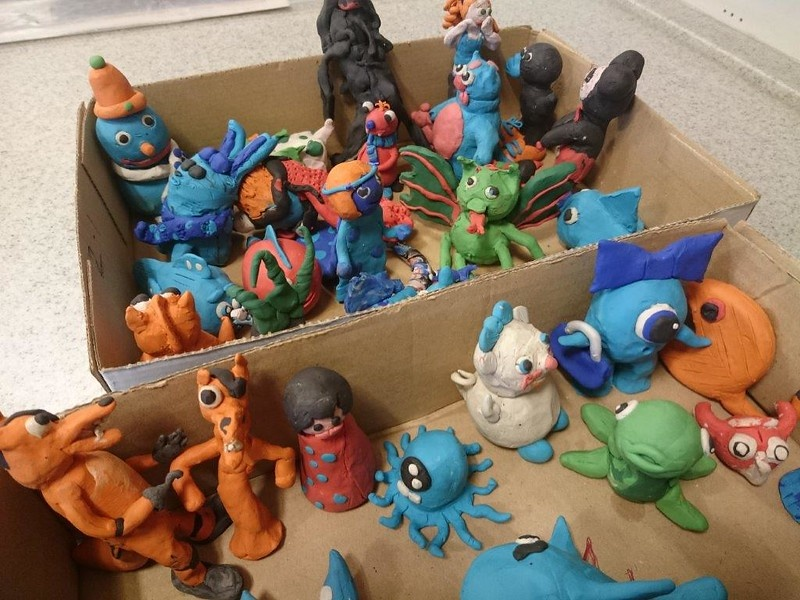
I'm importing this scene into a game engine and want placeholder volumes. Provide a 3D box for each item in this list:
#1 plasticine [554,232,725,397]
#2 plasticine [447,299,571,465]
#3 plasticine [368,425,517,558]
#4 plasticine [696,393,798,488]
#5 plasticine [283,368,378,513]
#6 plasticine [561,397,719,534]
[{"bbox_3d":[0.620,0.052,1.964,0.436,0.464,0.227,-9,41,-11],"label":"plasticine"},{"bbox_3d":[0.263,0.191,1.896,0.295,0.359,0.251,15,41,32],"label":"plasticine"},{"bbox_3d":[0.087,0.418,1.852,0.317,0.152,0.382,-6,41,-4],"label":"plasticine"},{"bbox_3d":[0.828,0.339,1.903,0.268,0.191,0.196,-8,31,2],"label":"plasticine"},{"bbox_3d":[-0.156,0.327,1.795,0.191,0.344,0.203,-8,51,-4],"label":"plasticine"},{"bbox_3d":[0.589,0.354,1.863,0.388,0.270,0.225,25,50,28],"label":"plasticine"}]
